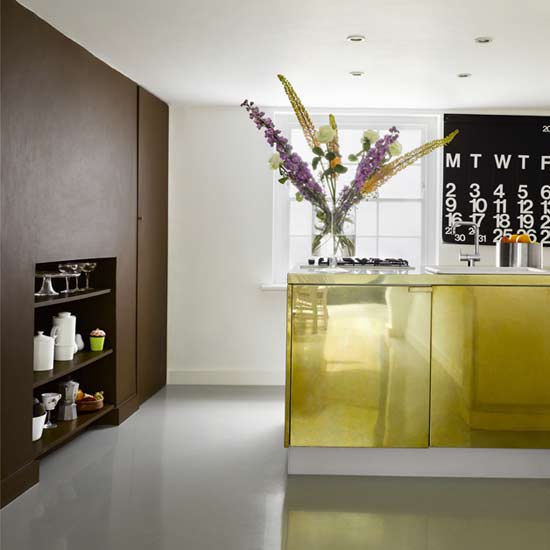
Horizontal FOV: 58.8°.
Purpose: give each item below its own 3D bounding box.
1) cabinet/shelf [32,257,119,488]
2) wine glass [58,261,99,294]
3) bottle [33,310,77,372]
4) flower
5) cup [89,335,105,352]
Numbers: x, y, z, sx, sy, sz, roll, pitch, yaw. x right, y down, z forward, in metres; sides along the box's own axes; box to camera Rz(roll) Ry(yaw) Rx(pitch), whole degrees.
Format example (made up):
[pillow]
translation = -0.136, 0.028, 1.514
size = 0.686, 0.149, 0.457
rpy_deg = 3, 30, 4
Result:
[cabinet/shelf]
translation = -1.175, 0.583, 2.886
size = 0.280, 1.009, 0.964
rpy_deg = 0, 2, 0
[wine glass]
translation = -1.207, -0.014, 3.007
size = 0.180, 0.187, 0.223
rpy_deg = -1, -2, 2
[bottle]
translation = -1.246, 0.379, 2.817
size = 0.300, 0.343, 0.169
rpy_deg = 4, -4, -43
[flower]
translation = 0.200, -0.528, 2.642
size = 0.909, 0.865, 0.847
rpy_deg = 0, 0, -24
[cup]
translation = -1.147, 0.438, 3.156
size = 0.077, 0.079, 0.092
rpy_deg = 0, -6, -1
